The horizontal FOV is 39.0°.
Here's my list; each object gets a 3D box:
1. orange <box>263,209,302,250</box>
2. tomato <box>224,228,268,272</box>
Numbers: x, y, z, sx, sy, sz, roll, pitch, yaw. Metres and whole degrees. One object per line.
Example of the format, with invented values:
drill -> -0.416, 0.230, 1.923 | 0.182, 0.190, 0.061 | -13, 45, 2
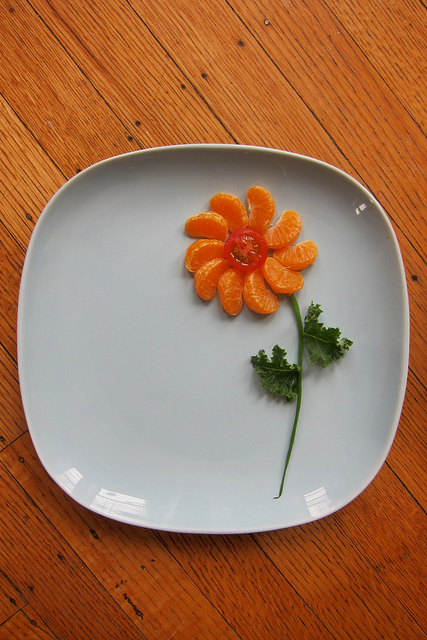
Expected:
orange -> 0.227, -0.295, 1.952 | 0.105, 0.059, 0.143 | 17, 85, 2
tomato -> 0.106, -0.223, 1.922 | 0.140, 0.054, 0.129 | 20, 85, 2
